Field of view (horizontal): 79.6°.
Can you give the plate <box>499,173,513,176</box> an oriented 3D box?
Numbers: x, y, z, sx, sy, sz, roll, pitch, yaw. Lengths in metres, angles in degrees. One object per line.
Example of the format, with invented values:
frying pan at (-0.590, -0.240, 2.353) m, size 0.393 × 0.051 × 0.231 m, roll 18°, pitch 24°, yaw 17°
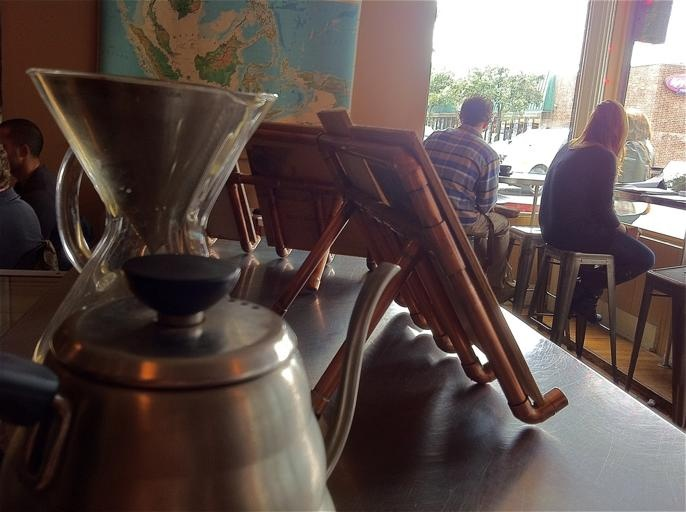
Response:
plate at (1.232, -0.605, 3.091) m, size 0.073 × 0.019 × 0.047 m, roll 0°, pitch 4°, yaw 2°
